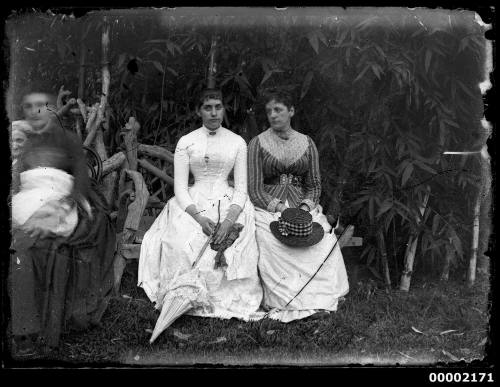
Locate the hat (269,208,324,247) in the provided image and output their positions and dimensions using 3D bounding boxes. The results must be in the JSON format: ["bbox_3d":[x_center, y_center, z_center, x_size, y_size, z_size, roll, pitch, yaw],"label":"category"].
[{"bbox_3d":[0.364,0.263,4.092,0.326,0.124,0.321,22,42,25],"label":"hat"}]

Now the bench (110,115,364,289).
[{"bbox_3d":[-0.187,0.012,4.831,1.897,1.206,1.335,3,6,-4],"label":"bench"}]

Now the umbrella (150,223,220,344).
[{"bbox_3d":[-0.487,0.686,3.847,0.279,0.709,0.245,41,-25,-25],"label":"umbrella"}]
